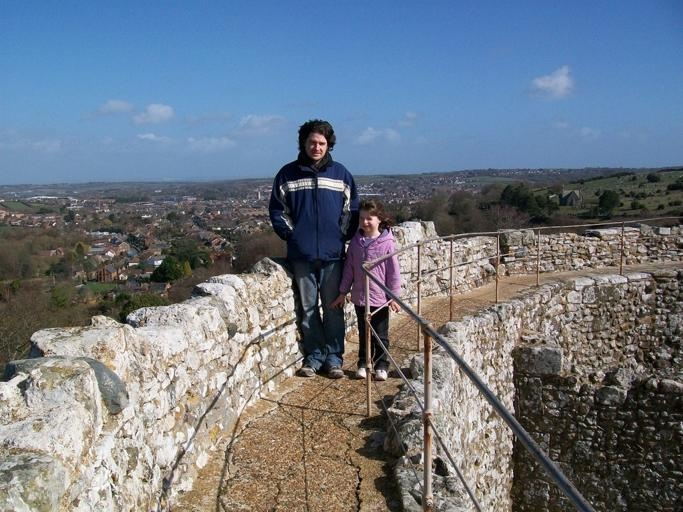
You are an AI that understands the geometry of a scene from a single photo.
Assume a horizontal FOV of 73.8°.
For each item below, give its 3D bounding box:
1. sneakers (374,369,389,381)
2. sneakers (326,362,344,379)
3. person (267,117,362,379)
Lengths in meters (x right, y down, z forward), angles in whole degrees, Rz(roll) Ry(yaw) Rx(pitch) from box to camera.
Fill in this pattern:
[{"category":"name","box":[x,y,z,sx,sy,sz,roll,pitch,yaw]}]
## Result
[{"category":"sneakers","box":[0.364,1.126,4.313,0.085,0.078,0.190,-3,-12,1]},{"category":"sneakers","box":[-0.075,1.093,4.328,0.105,0.111,0.276,0,-6,-4]},{"category":"person","box":[-0.280,-0.029,4.308,0.812,2.358,0.405,4,10,2]}]
